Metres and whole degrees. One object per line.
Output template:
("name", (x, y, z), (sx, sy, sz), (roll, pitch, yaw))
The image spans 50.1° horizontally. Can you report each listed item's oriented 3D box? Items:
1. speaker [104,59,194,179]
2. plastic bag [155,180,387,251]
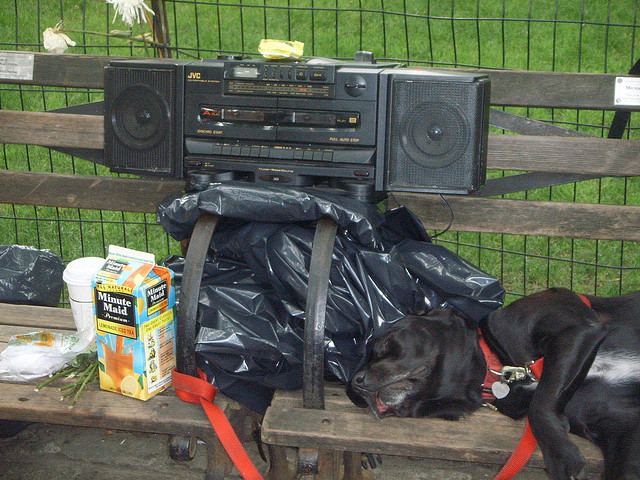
("speaker", (-0.678, -0.509, 2.921), (0.432, 0.446, 0.421), (12, 15, 38))
("plastic bag", (-0.194, -0.083, 2.520), (0.855, 0.235, 0.237), (3, 13, 4))
